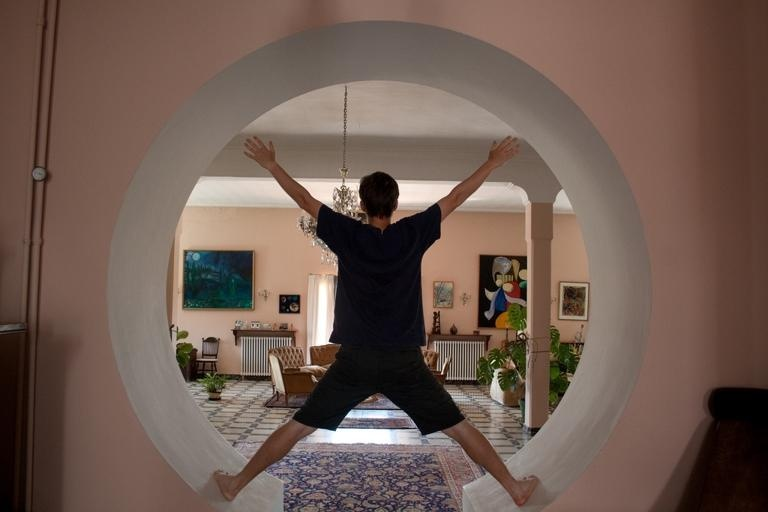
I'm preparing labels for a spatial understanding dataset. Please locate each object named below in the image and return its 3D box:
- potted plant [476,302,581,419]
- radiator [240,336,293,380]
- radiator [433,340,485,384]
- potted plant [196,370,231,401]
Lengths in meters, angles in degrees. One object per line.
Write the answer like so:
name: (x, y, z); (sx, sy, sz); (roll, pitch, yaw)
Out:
potted plant: (2.221, 1.717, 8.012); (1.845, 2.110, 1.897); (5, -13, 7)
radiator: (-2.579, 2.144, 10.764); (0.920, 0.777, 0.140); (0, 0, -2)
radiator: (1.713, 2.337, 11.469); (0.952, 0.945, 1.003); (0, -4, -3)
potted plant: (-3.295, 2.466, 9.549); (0.554, 0.600, 0.553); (0, -8, -7)
